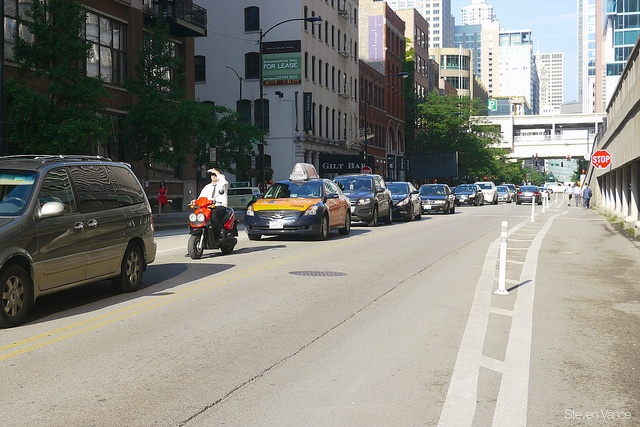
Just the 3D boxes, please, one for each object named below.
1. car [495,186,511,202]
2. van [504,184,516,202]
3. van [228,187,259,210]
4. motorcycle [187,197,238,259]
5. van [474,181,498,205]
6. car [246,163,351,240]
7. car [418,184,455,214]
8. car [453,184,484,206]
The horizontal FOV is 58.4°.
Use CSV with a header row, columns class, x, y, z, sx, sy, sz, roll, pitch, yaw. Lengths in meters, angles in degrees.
class,x,y,z,sx,sy,sz,roll,pitch,yaw
car,20.083,-2.110,62.236,1.218,1.181,2.288,-1,-1,18
van,21.938,-2.531,65.136,1.368,1.385,2.581,-1,-3,14
van,-5.154,-1.074,37.890,2.295,1.285,1.495,4,7,7
motorcycle,-2.799,0.357,14.894,0.622,1.590,1.406,4,6,35
van,16.993,-2.124,57.530,1.715,1.759,3.167,-2,-2,16
car,-0.610,-0.181,19.716,2.094,2.195,3.988,4,7,36
car,7.900,-0.942,38.399,2.221,1.743,2.360,2,6,12
car,13.497,-1.637,51.916,2.143,1.889,2.758,3,6,22
